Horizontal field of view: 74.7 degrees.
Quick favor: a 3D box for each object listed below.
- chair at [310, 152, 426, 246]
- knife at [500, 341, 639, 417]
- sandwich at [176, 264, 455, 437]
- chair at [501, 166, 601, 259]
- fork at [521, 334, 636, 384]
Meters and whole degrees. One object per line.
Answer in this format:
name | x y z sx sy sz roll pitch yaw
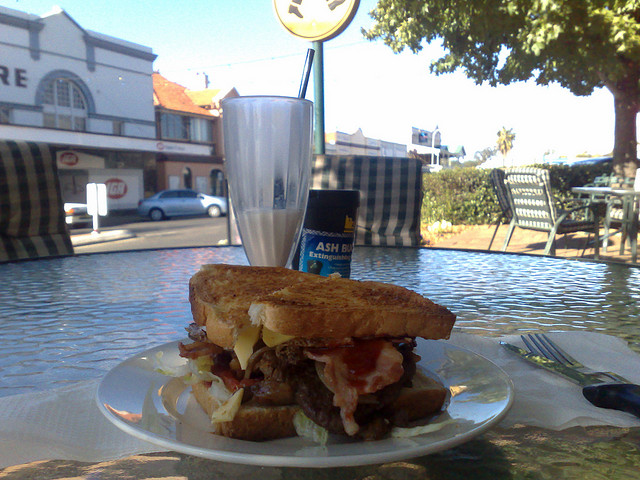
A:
chair | 0.269 -0.237 2.388 0.632 0.489 0.465 0 9 -1
knife | 0.311 0.176 0.548 0.026 0.019 0.186 -4 6 -18
sandwich | -0.011 0.110 0.556 0.332 0.106 0.285 -5 30 -34
chair | 2.832 -0.301 5.173 1.052 0.939 0.810 2 7 -17
fork | 0.342 0.169 0.625 0.030 0.028 0.208 -8 12 -25
